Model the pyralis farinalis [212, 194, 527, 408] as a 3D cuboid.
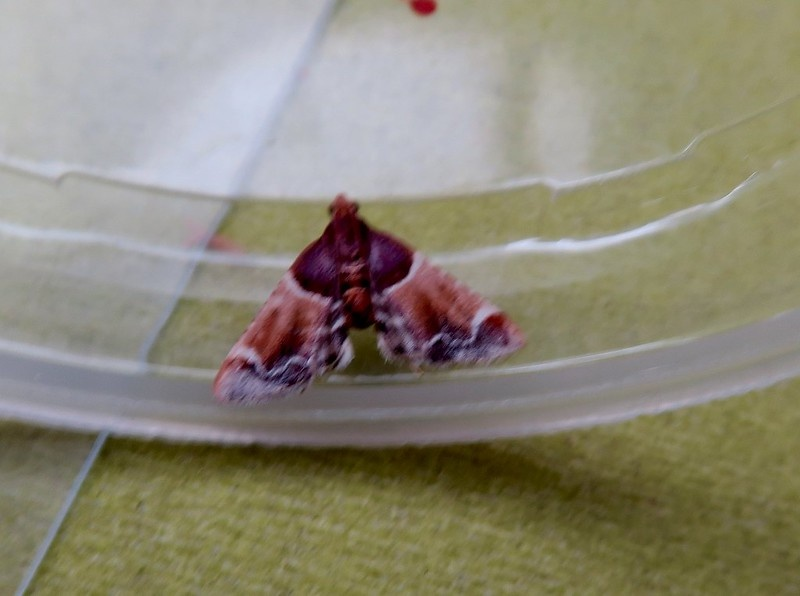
[{"bbox_3d":[-0.040,0.010,0.872,0.271,0.085,0.157,-4,67,5],"label":"pyralis farinalis"}]
